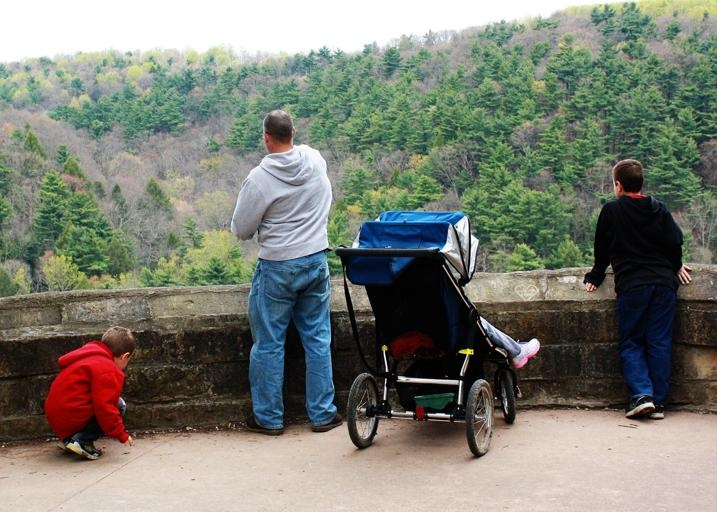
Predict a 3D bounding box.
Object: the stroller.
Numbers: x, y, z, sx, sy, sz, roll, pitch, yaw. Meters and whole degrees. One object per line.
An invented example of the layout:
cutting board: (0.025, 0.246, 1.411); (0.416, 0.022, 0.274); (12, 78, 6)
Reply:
stroller: (0.537, 0.590, 8.295); (1.397, 1.993, 0.812); (-5, 0, 1)

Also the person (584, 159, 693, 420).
person: (2.486, 0.294, 8.830); (0.875, 2.206, 0.519); (-5, 1, 16)

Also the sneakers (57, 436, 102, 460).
sneakers: (-2.317, 1.595, 8.119); (0.379, 0.170, 0.145); (25, -2, -28)

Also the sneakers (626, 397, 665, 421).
sneakers: (2.501, 1.364, 8.668); (0.176, 0.149, 0.345); (1, -5, 2)

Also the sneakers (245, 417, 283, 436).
sneakers: (-0.840, 1.509, 8.651); (0.305, 0.142, 0.138); (12, 12, 37)

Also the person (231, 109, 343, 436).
person: (-0.636, 0.151, 8.647); (0.893, 2.841, 0.268); (-5, 1, -3)

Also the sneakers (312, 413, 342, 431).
sneakers: (-0.262, 1.479, 8.726); (0.302, 0.111, 0.107); (-7, 10, -44)
